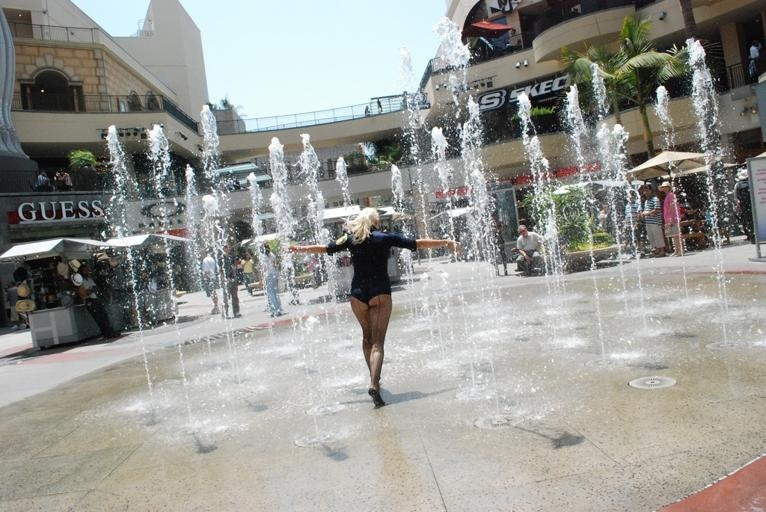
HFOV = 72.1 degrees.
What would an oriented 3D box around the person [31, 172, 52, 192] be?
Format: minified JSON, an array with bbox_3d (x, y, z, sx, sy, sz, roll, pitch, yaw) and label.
[{"bbox_3d":[-17.189,-3.706,26.540,0.424,0.555,0.949,-5,8,14],"label":"person"}]

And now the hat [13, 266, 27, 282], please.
[{"bbox_3d":[-10.697,0.563,15.630,0.400,0.429,0.329,-1,38,-12],"label":"hat"}]

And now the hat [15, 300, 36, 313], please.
[{"bbox_3d":[-10.233,1.426,15.071,0.460,0.252,0.340,-11,9,-27],"label":"hat"}]

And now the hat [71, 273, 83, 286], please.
[{"bbox_3d":[-8.927,0.679,15.412,0.266,0.391,0.160,-11,9,-27],"label":"hat"}]

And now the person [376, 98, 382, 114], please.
[{"bbox_3d":[-0.186,-10.992,39.140,0.424,0.919,0.211,-9,9,-16],"label":"person"}]

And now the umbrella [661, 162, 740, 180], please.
[{"bbox_3d":[12.760,-3.395,20.970,2.031,0.661,1.865,-9,6,-41],"label":"umbrella"}]

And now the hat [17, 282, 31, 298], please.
[{"bbox_3d":[-10.430,0.965,15.321,0.370,0.414,0.237,-15,0,-17],"label":"hat"}]

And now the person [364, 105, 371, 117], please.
[{"bbox_3d":[-1.125,-10.591,38.725,0.486,0.724,0.804,-7,8,2],"label":"person"}]

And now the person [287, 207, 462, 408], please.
[{"bbox_3d":[-0.089,0.588,6.960,0.909,2.421,0.976,-12,10,-32],"label":"person"}]

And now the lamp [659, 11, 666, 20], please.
[{"bbox_3d":[14.001,-11.979,26.351,0.329,0.316,0.241,1,-6,-45],"label":"lamp"}]

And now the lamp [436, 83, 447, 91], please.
[{"bbox_3d":[3.959,-11.222,35.097,0.556,0.550,0.144,-3,5,17],"label":"lamp"}]

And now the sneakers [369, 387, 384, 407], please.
[{"bbox_3d":[-0.072,1.726,6.640,0.174,0.277,0.260,-7,8,-2],"label":"sneakers"}]

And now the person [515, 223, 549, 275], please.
[{"bbox_3d":[4.989,-0.207,17.866,1.066,1.616,0.988,-15,-5,11],"label":"person"}]

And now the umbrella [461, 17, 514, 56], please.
[{"bbox_3d":[6.866,-14.078,34.225,2.322,2.140,2.890,0,10,38],"label":"umbrella"}]

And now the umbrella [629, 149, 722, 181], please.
[{"bbox_3d":[9.632,-3.051,17.671,1.544,0.728,1.580,-1,-3,-9],"label":"umbrella"}]

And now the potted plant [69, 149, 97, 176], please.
[{"bbox_3d":[-16.283,-5.044,28.613,1.138,1.382,1.929,-11,9,-26],"label":"potted plant"}]
